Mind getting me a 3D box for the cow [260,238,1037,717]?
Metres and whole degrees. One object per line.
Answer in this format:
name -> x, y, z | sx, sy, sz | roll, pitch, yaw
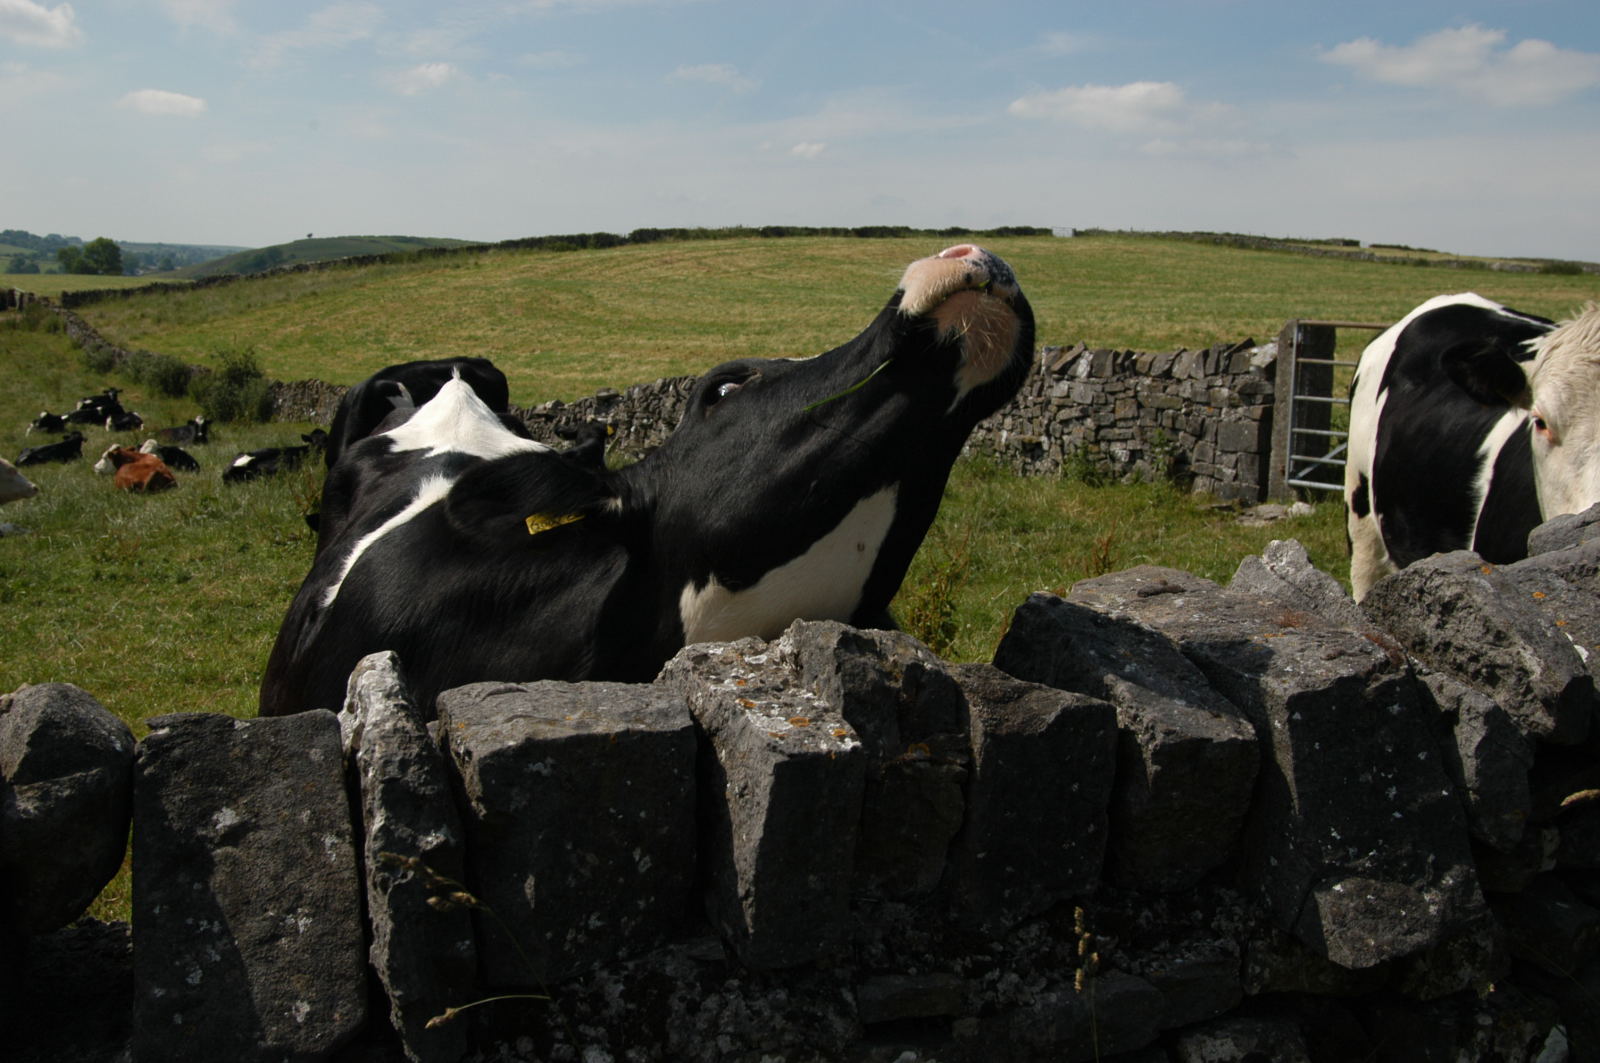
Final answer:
cow -> -0.509, -0.035, 4.805 | 3.306, 1.706, 1.503 | -4, 1, 40
